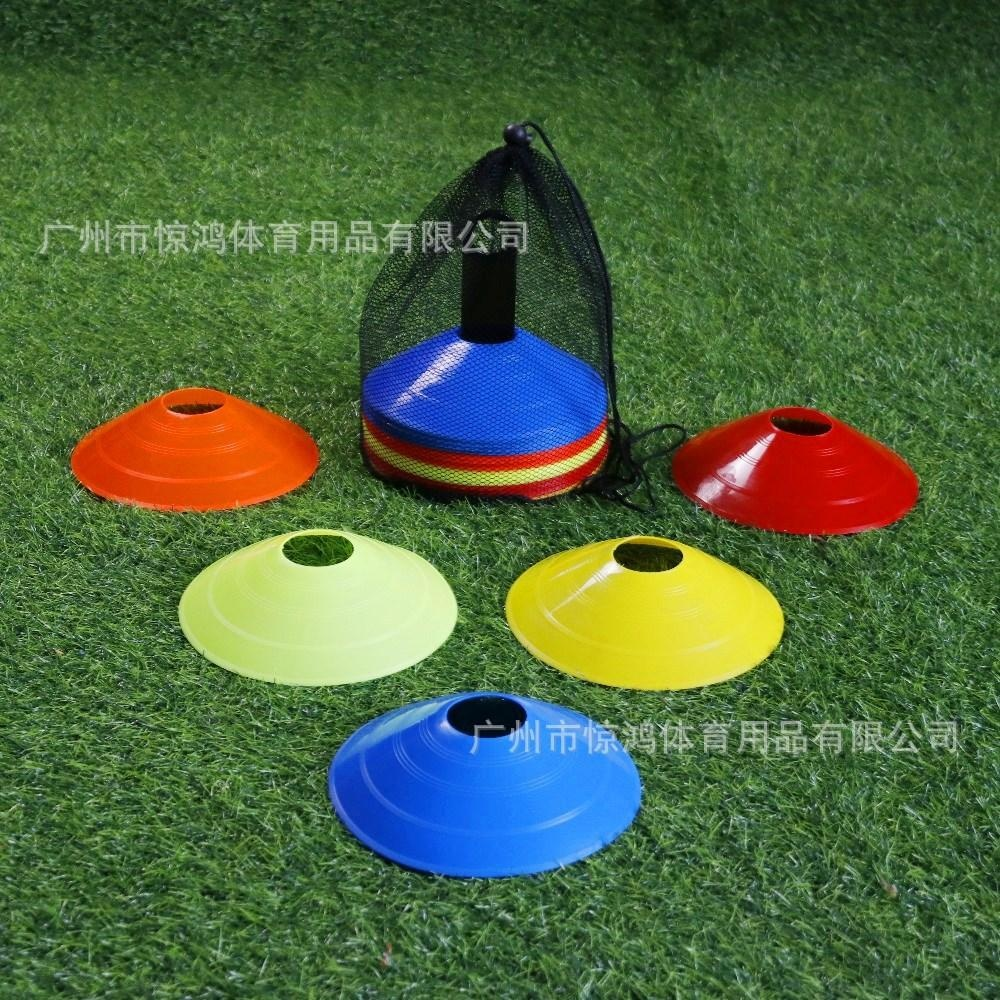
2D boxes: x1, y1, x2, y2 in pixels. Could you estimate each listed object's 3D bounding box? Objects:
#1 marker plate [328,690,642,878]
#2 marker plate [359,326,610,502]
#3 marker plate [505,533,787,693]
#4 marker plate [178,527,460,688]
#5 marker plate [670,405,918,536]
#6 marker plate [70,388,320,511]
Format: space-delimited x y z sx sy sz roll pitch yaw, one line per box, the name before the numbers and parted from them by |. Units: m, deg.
marker plate | -0.025 0.408 1.886 0.480 0.184 0.296 0 30 -1
marker plate | -0.024 -0.186 2.727 0.535 0.317 0.291 -1 34 -2
marker plate | 0.248 0.187 2.284 0.526 0.167 0.347 6 30 10
marker plate | -0.326 0.178 2.284 0.509 0.159 0.371 -6 29 -11
marker plate | 0.623 -0.076 2.713 0.550 0.177 0.362 8 30 13
marker plate | -0.660 -0.116 2.729 0.540 0.191 0.359 -6 30 -11
